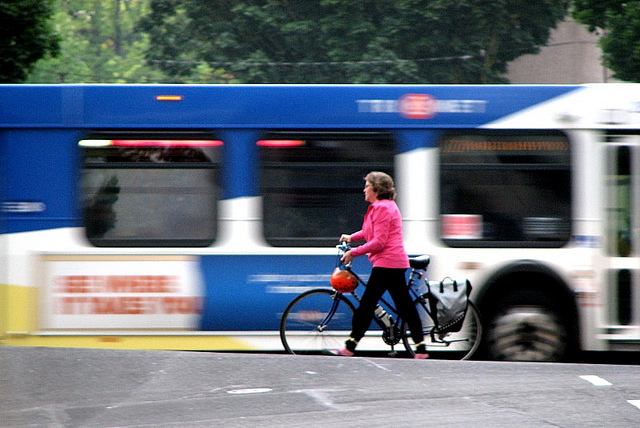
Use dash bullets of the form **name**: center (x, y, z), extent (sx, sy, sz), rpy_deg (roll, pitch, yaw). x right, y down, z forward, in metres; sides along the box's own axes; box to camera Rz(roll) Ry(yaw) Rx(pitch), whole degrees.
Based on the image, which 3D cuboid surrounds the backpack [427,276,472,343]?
- **backpack**: center (1.931, 1.432, 19.314), extent (0.633, 0.768, 0.275), rpy_deg (-2, -1, 4)

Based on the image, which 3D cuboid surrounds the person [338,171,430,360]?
- **person**: center (0.915, 0.779, 19.081), extent (1.214, 2.111, 0.385), rpy_deg (-2, -1, 2)
